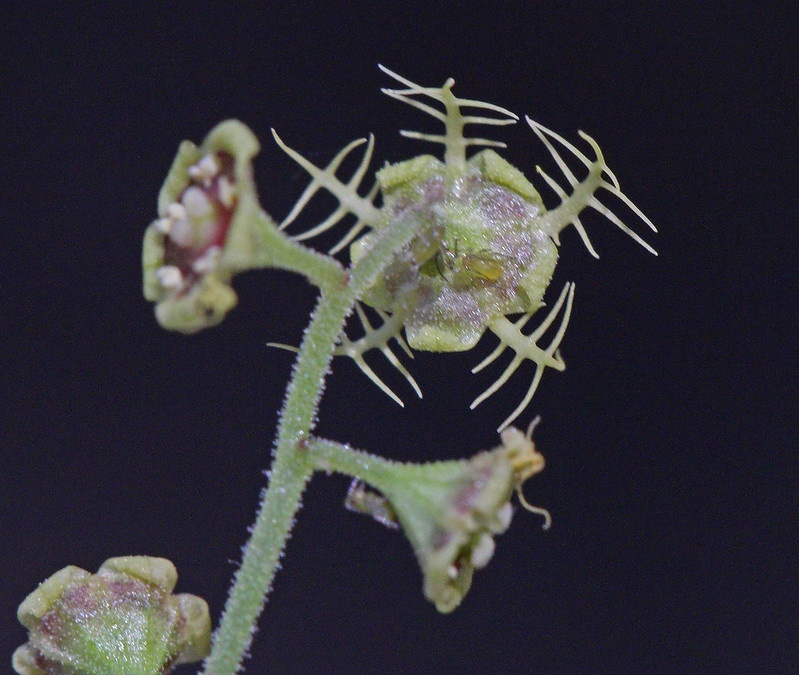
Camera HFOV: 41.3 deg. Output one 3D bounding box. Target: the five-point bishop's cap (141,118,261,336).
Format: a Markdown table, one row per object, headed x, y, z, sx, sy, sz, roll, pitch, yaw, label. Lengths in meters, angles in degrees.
| x | y | z | sx | sy | sz | roll | pitch | yaw | label |
| --- | --- | --- | --- | --- | --- | --- | --- | --- | --- |
| -0.509 | -0.275 | 2.781 | 0.334 | 0.603 | 0.157 | 18 | 15 | 36 | five-point bishop's cap |
